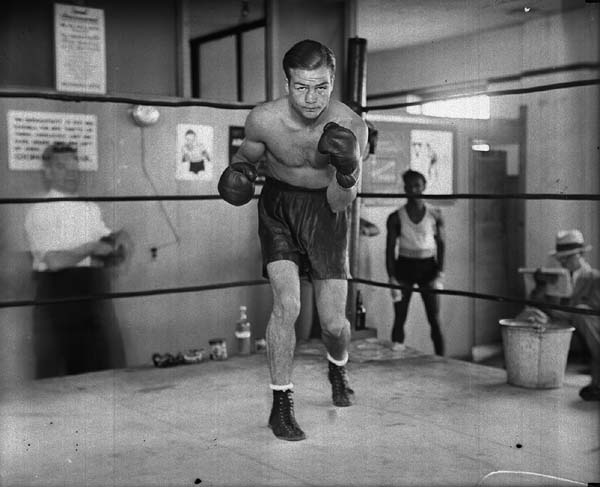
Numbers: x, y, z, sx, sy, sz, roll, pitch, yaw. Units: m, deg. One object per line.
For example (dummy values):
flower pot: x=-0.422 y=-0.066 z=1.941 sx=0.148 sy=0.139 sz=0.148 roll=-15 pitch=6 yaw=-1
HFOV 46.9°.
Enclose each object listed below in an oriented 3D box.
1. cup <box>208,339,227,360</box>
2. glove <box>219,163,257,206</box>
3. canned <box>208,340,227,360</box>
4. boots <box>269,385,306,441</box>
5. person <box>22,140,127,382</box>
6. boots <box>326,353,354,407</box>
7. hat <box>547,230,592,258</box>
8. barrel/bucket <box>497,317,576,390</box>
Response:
cup: x=-0.469 y=0.609 z=3.996 sx=0.107 sy=0.125 sz=0.109 roll=-3 pitch=-2 yaw=0
glove: x=-0.273 y=-0.232 z=3.082 sx=0.142 sy=0.167 sz=0.196 roll=13 pitch=46 yaw=-1
canned: x=-0.470 y=0.614 z=3.995 sx=0.104 sy=0.122 sz=0.105 roll=-1 pitch=-4 yaw=-10
boots: x=-0.054 y=0.738 z=3.052 sx=0.164 sy=0.253 sz=0.161 roll=0 pitch=14 yaw=-3
person: x=-1.150 y=0.089 z=3.644 sx=0.505 sy=1.193 sz=0.237 roll=-5 pitch=14 yaw=-21
boots: x=0.194 y=0.688 z=3.396 sx=0.100 sy=0.191 sz=0.276 roll=-1 pitch=2 yaw=-3
hat: x=1.295 y=0.004 z=3.347 sx=0.131 sy=0.061 sz=0.115 roll=-6 pitch=5 yaw=-13
barrel/bucket: x=1.188 y=0.566 z=3.549 sx=0.365 sy=0.325 sz=0.231 roll=6 pitch=6 yaw=38
